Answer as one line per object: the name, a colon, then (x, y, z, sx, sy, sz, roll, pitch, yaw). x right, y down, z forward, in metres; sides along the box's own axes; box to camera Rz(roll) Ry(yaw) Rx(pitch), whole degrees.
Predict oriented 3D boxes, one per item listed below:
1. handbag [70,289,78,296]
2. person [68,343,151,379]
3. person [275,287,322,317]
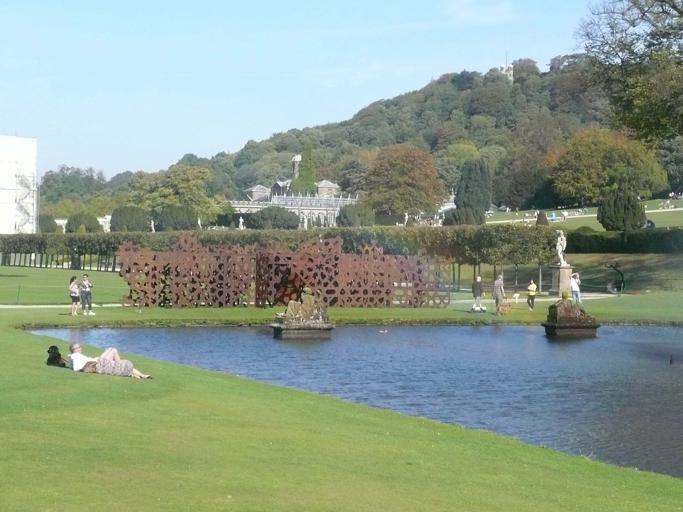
handbag: (-11.758, 1.600, 56.656, 0.320, 0.441, 0.223, 0, 0, -27)
person: (-7.549, 3.371, 41.806, 2.478, 1.118, 1.191, 2, -4, -2)
person: (-1.848, 1.988, 53.071, 1.508, 0.856, 1.193, -10, -3, 32)
